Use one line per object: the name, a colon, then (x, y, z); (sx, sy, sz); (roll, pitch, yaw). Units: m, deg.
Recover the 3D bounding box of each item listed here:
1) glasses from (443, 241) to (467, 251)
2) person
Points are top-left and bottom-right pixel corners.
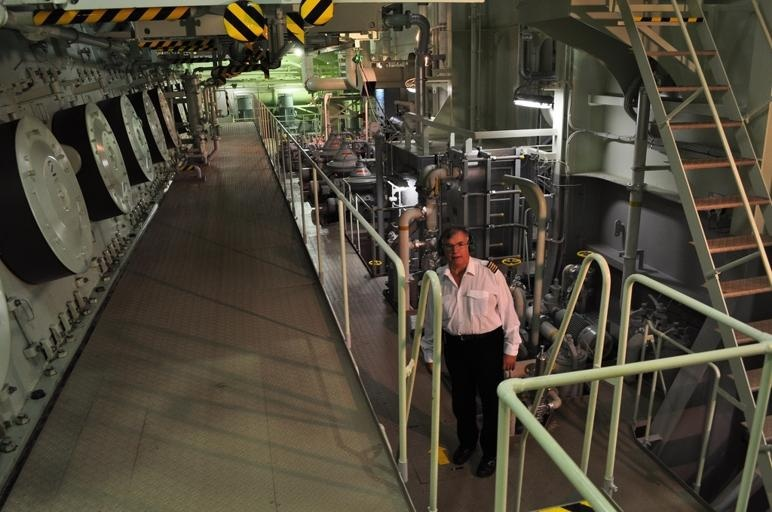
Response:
glasses: (0.605, -0.090, 4.602); (0.207, 0.085, 0.075); (-1, 19, 3)
person: (0.832, 1.138, 4.915); (0.752, 2.808, 0.555); (4, 21, 18)
